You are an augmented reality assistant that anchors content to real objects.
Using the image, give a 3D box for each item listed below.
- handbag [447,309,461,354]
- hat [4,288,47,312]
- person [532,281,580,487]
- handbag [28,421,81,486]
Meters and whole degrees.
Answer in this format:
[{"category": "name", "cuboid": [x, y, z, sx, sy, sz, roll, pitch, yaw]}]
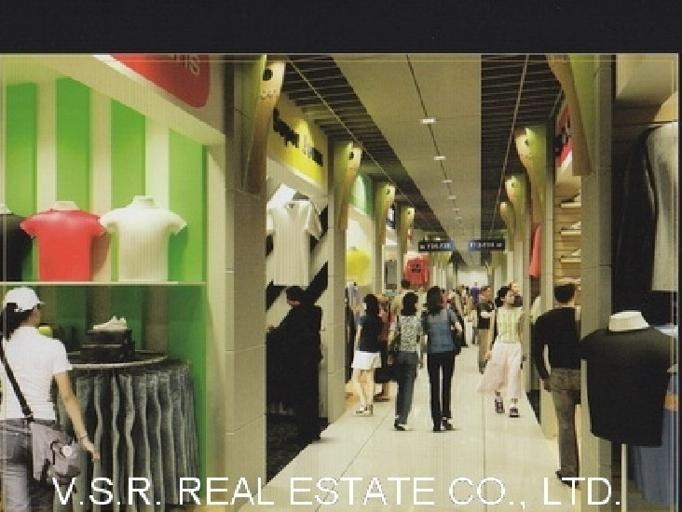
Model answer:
[{"category": "handbag", "cuboid": [0.576, 0.376, 3.815, 0.052, 0.214, 0.079, -6, -8, 28]}, {"category": "hat", "cuboid": [-1.619, 0.219, 3.886, 0.149, 0.086, 0.111, -5, 7, -37]}, {"category": "person", "cuboid": [1.081, 0.633, 3.797, 0.237, 0.984, 0.124, -3, -7, 11]}, {"category": "handbag", "cuboid": [-1.469, 0.997, 3.881, 0.236, 0.341, 0.133, 6, -8, -15]}]
